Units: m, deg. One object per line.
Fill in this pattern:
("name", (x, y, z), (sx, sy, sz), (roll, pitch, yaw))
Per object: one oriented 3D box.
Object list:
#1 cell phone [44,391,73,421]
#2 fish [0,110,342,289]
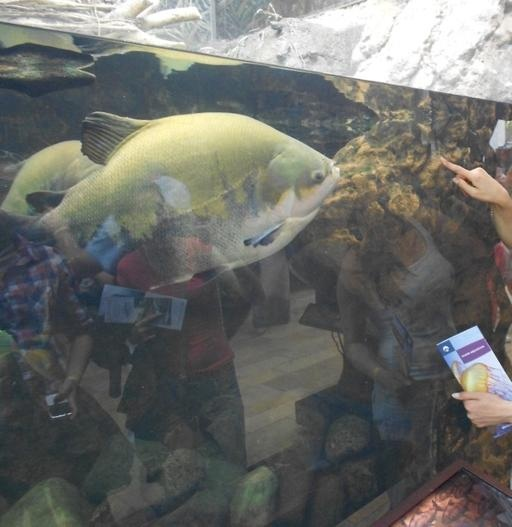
("cell phone", (-0.554, 0.401, 1.509), (0.093, 0.085, 0.066), (1, 26, -21))
("fish", (-0.214, -0.283, 1.819), (1.083, 0.566, 0.351), (-10, 26, -15))
